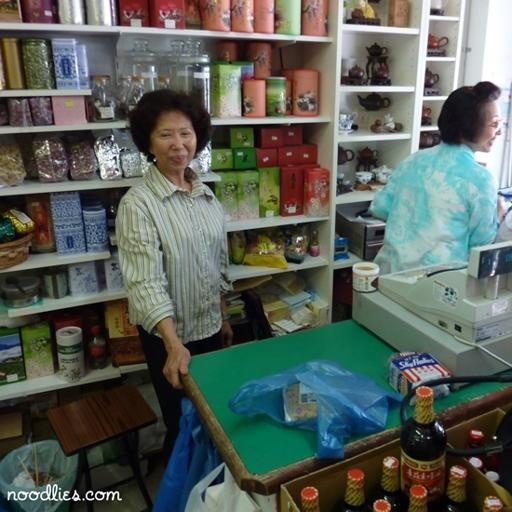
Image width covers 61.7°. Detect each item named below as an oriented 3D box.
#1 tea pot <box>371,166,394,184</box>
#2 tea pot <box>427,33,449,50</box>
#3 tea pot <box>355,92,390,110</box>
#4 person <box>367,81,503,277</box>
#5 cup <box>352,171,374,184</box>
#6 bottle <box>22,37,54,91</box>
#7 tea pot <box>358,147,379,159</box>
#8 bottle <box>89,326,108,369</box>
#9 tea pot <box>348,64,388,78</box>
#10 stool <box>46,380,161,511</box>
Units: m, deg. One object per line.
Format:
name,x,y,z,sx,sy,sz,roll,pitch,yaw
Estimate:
tea pot,0.851,-0.552,2.881,0.121,0.132,0.157,-11,18,-33
tea pot,1.188,-1.405,2.827,0.112,0.109,0.164,-18,28,-27
tea pot,0.767,-1.001,2.827,0.188,0.105,0.132,18,37,21
person,0.816,-0.327,1.984,0.540,0.852,0.351,1,15,23
cup,0.729,-0.531,2.904,0.104,0.060,0.101,-1,22,1
bottle,-0.920,-0.810,1.826,0.134,0.204,0.131,-1,5,0
tea pot,0.761,-0.701,2.941,0.131,0.088,0.093,14,24,26
bottle,-0.882,0.500,2.357,0.120,0.230,0.117,-4,-2,0
tea pot,0.706,-1.166,2.692,0.223,0.081,0.085,-1,3,-6
stool,-0.711,0.903,1.991,0.436,0.588,0.405,-13,44,-25
